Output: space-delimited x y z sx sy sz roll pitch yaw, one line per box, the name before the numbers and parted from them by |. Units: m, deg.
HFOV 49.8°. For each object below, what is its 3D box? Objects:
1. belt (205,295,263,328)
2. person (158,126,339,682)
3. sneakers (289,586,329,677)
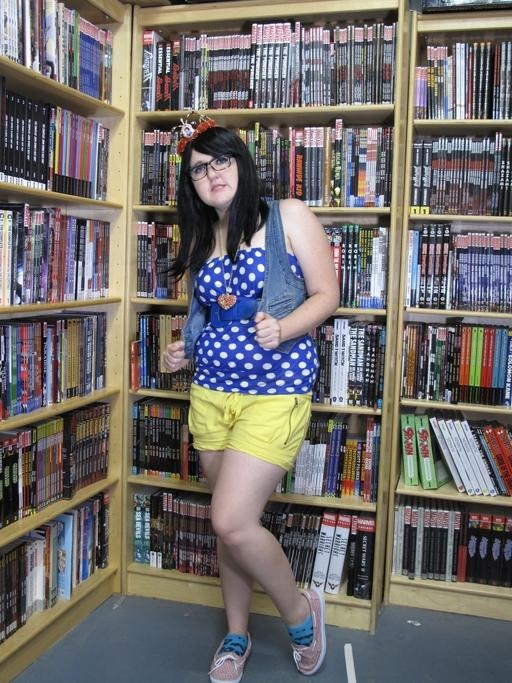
belt | -0.067 -0.076 1.490 0.121 0.077 0.037 -3 3 29
person | -0.031 0.205 1.493 0.483 1.600 0.446 1 7 7
sneakers | 0.141 0.858 1.645 0.102 0.262 0.094 1 -5 -43
